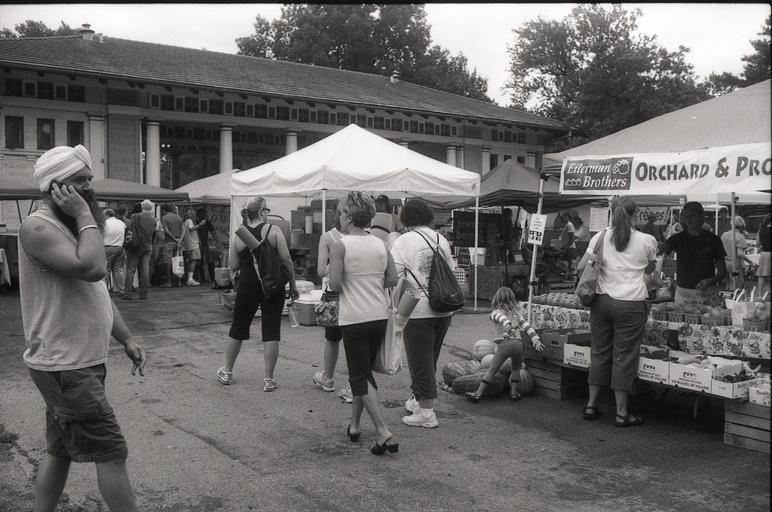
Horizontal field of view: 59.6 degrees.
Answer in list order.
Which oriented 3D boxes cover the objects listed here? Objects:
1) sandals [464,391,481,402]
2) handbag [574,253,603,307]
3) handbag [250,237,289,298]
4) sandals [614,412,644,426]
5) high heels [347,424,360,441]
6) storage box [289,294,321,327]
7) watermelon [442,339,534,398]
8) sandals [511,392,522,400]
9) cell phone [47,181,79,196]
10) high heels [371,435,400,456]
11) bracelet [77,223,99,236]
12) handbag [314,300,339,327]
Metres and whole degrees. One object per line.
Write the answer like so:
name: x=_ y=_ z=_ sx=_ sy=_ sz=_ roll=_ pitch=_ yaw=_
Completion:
sandals: x=1.125 y=1.830 z=8.727 sx=0.083 sy=0.091 sz=0.220 roll=9 pitch=-3 yaw=-27
handbag: x=2.452 y=0.321 z=8.139 sx=0.261 sy=0.610 sz=0.161 roll=5 pitch=14 yaw=17
handbag: x=-1.530 y=0.191 z=8.924 sx=0.731 sy=0.794 sz=0.396 roll=3 pitch=-3 yaw=25
sandals: x=2.876 y=1.926 z=7.986 sx=0.284 sy=0.110 sz=0.147 roll=-2 pitch=2 yaw=-23
high heels: x=-0.363 y=1.943 z=7.524 sx=0.162 sy=0.178 sz=0.319 roll=0 pitch=13 yaw=-3
storage box: x=-1.565 y=1.030 z=12.647 sx=0.699 sy=0.609 sz=0.709 roll=-1 pitch=-2 yaw=44
watermelon: x=1.386 y=1.606 z=9.321 sx=1.163 sy=0.802 sz=0.848 roll=-3 pitch=-1 yaw=36
sandals: x=1.710 y=1.822 z=8.759 sx=0.172 sy=0.102 sz=0.113 roll=-3 pitch=14 yaw=-15
cell phone: x=-2.626 y=-0.541 z=5.459 sx=0.170 sy=0.067 sz=0.125 roll=1 pitch=1 yaw=7
high heels: x=-0.002 y=2.029 z=7.108 sx=0.142 sy=0.150 sz=0.379 roll=2 pitch=-14 yaw=-31
bracelet: x=-2.396 y=-0.214 z=5.436 sx=0.148 sy=0.070 sz=0.083 roll=-5 pitch=15 yaw=-23
handbag: x=-0.740 y=0.703 z=8.455 sx=0.226 sy=0.432 sz=0.312 roll=-2 pitch=-2 yaw=40
